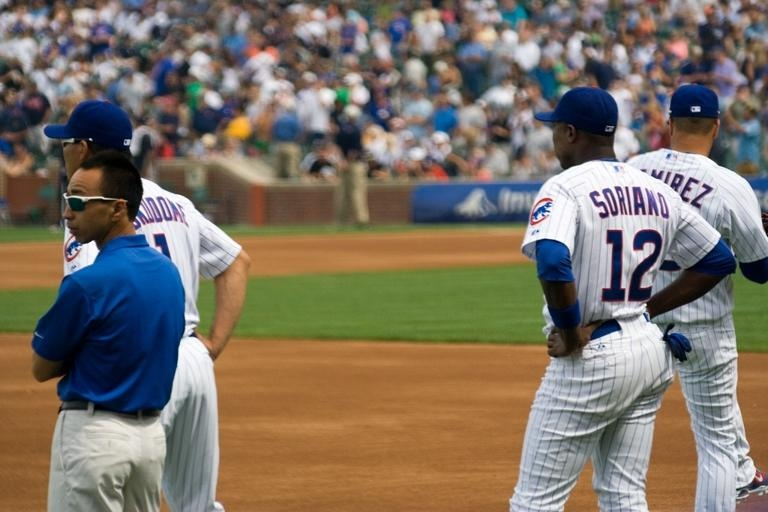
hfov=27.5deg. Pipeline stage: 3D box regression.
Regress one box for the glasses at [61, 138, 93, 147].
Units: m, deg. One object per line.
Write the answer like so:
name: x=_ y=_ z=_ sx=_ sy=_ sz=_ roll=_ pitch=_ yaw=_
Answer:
glasses: x=-3.798 y=-1.378 z=19.338 sx=0.353 sy=0.086 sz=0.052 roll=2 pitch=9 yaw=9

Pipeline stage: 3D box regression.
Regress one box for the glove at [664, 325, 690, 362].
glove: x=3.678 y=1.114 z=19.616 sx=0.379 sy=0.200 sz=0.498 roll=-23 pitch=12 yaw=7
